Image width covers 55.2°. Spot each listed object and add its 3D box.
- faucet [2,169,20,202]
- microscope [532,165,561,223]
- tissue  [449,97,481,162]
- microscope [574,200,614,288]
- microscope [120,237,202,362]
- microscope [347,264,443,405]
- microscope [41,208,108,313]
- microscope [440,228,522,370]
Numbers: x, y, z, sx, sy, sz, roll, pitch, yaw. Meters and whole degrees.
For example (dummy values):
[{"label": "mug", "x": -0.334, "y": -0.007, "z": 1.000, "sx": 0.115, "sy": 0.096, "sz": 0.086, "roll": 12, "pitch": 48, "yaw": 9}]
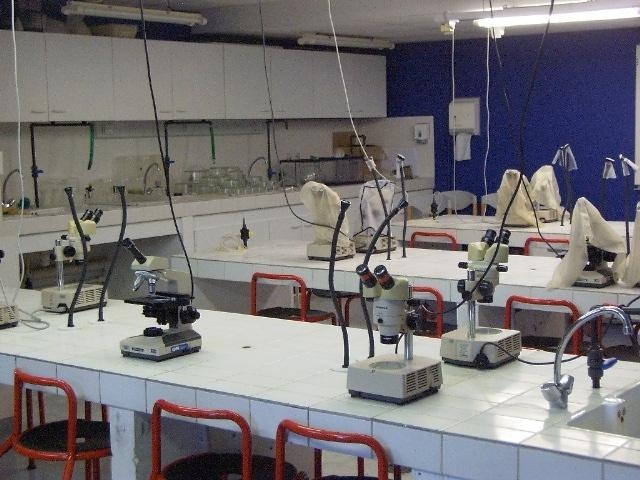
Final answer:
[{"label": "faucet", "x": -2.921, "y": -0.521, "z": 5.776, "sx": 0.178, "sy": 0.288, "sz": 0.083, "roll": -13, "pitch": 14, "yaw": -42}, {"label": "microscope", "x": 2.402, "y": -0.494, "z": 6.517, "sx": 0.274, "sy": 0.735, "sz": 0.320, "roll": -2, "pitch": 9, "yaw": 11}, {"label": "tissue ", "x": 1.959, "y": -1.520, "z": 8.408, "sx": 0.381, "sy": 0.817, "sz": 0.252, "roll": 4, "pitch": 10, "yaw": 36}, {"label": "microscope", "x": 1.716, "y": -0.001, "z": 3.843, "sx": 0.205, "sy": 0.552, "sz": 0.249, "roll": 5, "pitch": 7, "yaw": 37}, {"label": "microscope", "x": -0.724, "y": 0.262, "z": 2.762, "sx": 0.294, "sy": 0.565, "sz": 0.311, "roll": 5, "pitch": 7, "yaw": 44}, {"label": "microscope", "x": 0.254, "y": 0.312, "z": 2.173, "sx": 0.289, "sy": 0.503, "sz": 0.222, "roll": -13, "pitch": 14, "yaw": -40}, {"label": "microscope", "x": -1.405, "y": 0.106, "z": 3.519, "sx": 0.228, "sy": 0.555, "sz": 0.289, "roll": 4, "pitch": 3, "yaw": 34}, {"label": "microscope", "x": 0.659, "y": 0.216, "z": 2.504, "sx": 0.224, "sy": 0.518, "sz": 0.295, "roll": 4, "pitch": 6, "yaw": 42}]
